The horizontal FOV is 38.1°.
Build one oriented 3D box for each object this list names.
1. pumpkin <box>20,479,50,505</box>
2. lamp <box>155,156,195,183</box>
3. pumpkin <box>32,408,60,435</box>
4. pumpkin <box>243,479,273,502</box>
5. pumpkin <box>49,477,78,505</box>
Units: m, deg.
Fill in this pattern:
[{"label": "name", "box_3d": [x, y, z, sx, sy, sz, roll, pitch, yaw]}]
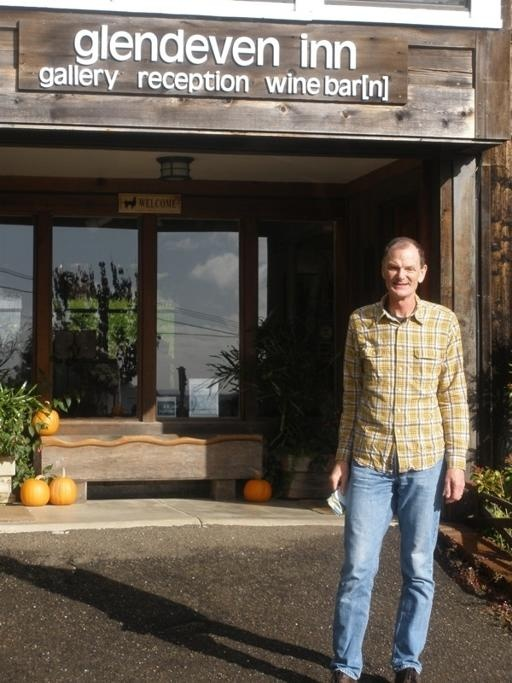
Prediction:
[{"label": "pumpkin", "box_3d": [-1.918, 1.280, 6.511, 0.231, 0.228, 0.239, 3, -3, 33]}, {"label": "lamp", "box_3d": [-0.762, -1.639, 6.965, 0.239, 0.137, 0.230, 0, -2, 42]}, {"label": "pumpkin", "box_3d": [-1.992, 0.751, 7.056, 0.241, 0.283, 0.242, -2, -8, -5]}, {"label": "pumpkin", "box_3d": [0.025, 1.380, 7.028, 0.222, 0.207, 0.211, 1, 3, 39]}, {"label": "pumpkin", "box_3d": [-1.725, 1.312, 6.592, 0.227, 0.305, 0.233, 6, -12, -42]}]
